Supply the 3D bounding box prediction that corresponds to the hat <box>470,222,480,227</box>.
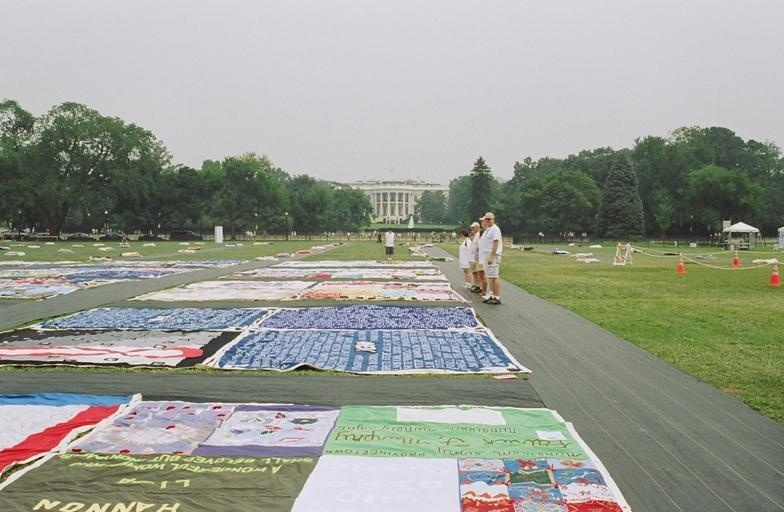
[{"bbox_3d":[2.578,-1.035,17.102,0.431,0.158,0.300,1,0,-38],"label":"hat"}]
